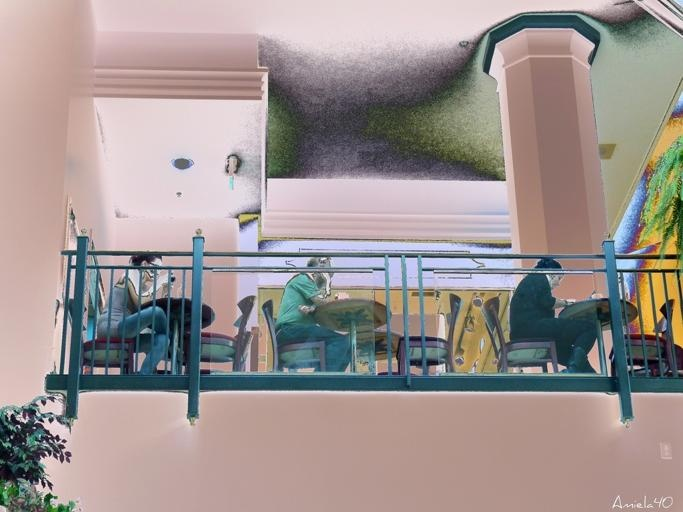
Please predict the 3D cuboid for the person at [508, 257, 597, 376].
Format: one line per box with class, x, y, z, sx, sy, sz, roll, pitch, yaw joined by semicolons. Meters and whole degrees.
person;1.963;0.626;8.760;0.786;1.396;0.622;-2;-25;-2
